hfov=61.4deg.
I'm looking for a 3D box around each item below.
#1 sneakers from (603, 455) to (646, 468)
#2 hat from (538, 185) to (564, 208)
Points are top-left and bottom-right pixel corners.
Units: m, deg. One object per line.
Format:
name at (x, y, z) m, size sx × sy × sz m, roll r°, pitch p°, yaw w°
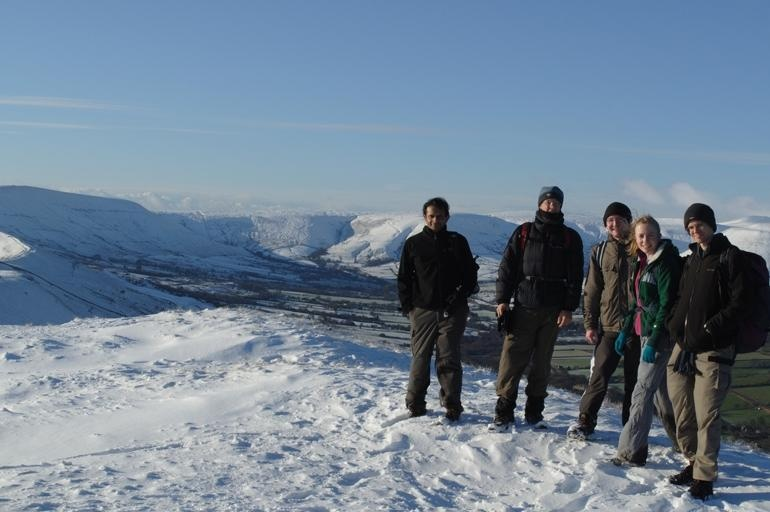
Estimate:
sneakers at (3.586, 3.049, 9.690) m, size 0.580 × 0.167 × 0.165 m, roll 4°, pitch -12°, yaw 17°
hat at (2.628, -0.933, 10.203) m, size 0.350 × 0.302 × 0.738 m, roll 2°, pitch 8°, yaw 10°
